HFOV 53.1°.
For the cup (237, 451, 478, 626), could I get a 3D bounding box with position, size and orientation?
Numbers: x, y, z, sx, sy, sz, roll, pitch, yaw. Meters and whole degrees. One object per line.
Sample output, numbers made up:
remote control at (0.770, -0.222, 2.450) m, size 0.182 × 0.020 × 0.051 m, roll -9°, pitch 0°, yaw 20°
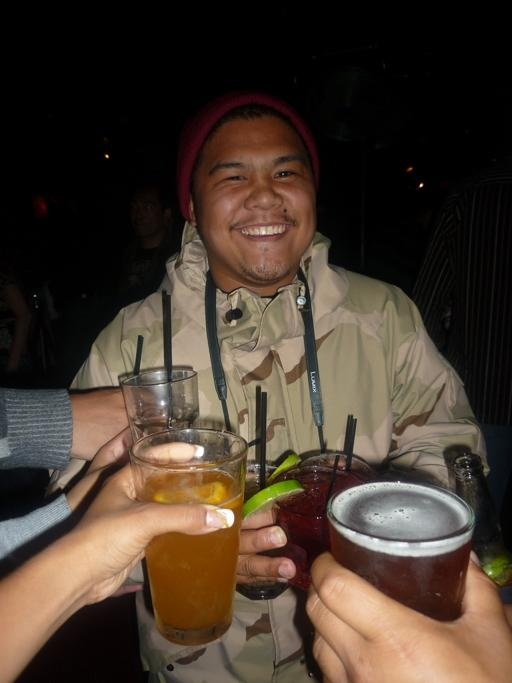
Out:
cup at (0.169, 0.345, 0.885) m, size 0.253 × 0.260 × 0.291 m, roll -4°, pitch 18°, yaw -9°
